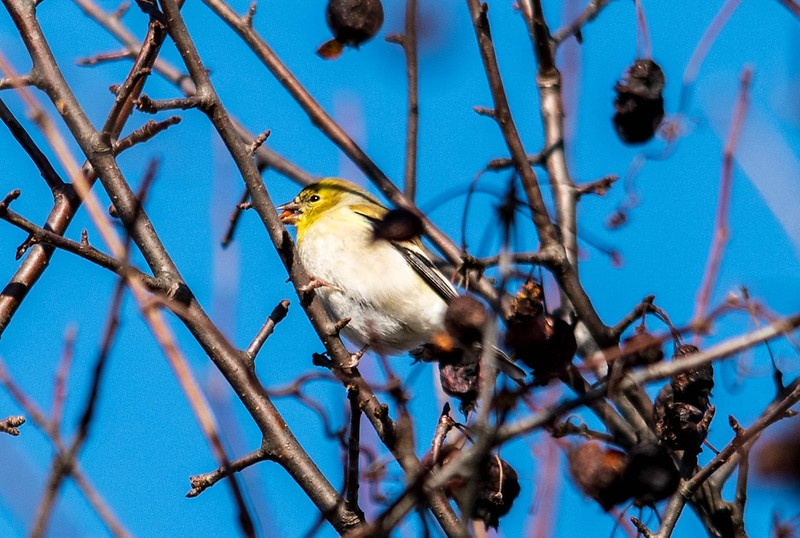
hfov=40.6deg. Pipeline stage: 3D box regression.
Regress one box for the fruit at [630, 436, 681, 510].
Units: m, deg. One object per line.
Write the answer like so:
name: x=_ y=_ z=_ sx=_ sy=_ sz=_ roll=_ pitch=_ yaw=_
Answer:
fruit: x=1.272 y=1.036 z=5.423 sx=0.261 sy=0.138 sz=0.331 roll=-16 pitch=-63 yaw=6

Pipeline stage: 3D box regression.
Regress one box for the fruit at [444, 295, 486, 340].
fruit: x=0.360 y=0.248 z=5.534 sx=0.160 sy=0.214 sz=0.177 roll=-21 pitch=-75 yaw=-29

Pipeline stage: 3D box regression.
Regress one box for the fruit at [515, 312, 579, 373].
fruit: x=0.688 y=0.369 z=5.330 sx=0.285 sy=0.224 sz=0.266 roll=11 pitch=-102 yaw=-23

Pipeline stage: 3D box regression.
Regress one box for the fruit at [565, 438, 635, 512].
fruit: x=1.022 y=1.026 z=5.526 sx=0.308 sy=0.352 sz=0.243 roll=-15 pitch=-61 yaw=7

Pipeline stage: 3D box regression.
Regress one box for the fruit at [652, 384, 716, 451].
fruit: x=1.512 y=0.787 z=5.824 sx=0.318 sy=0.473 sz=0.237 roll=-7 pitch=-60 yaw=2
